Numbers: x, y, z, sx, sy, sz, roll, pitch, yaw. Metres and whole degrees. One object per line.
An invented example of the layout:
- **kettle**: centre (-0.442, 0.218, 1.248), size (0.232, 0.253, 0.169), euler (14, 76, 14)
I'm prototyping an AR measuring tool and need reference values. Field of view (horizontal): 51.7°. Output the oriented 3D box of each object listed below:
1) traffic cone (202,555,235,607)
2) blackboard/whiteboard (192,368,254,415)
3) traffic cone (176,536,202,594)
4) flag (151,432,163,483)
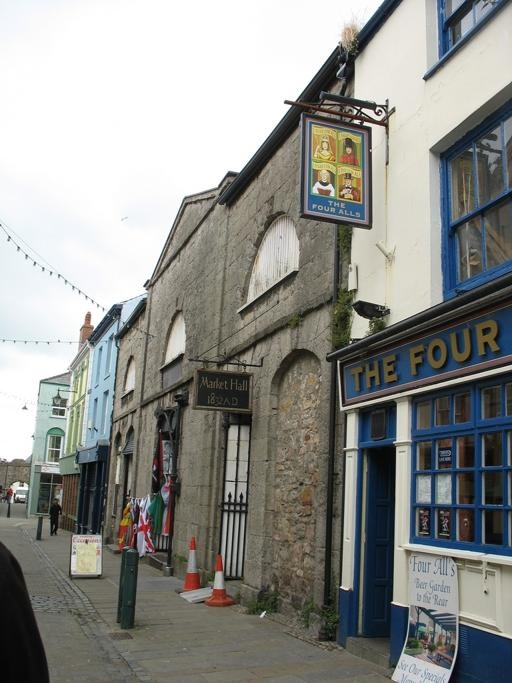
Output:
- **traffic cone**: centre (-0.645, 4.339, 9.700), size (0.511, 0.903, 1.225), euler (4, -16, -3)
- **blackboard/whiteboard**: centre (-0.628, 0.946, 10.405), size (0.830, 0.686, 0.126), euler (7, -14, -22)
- **traffic cone**: centre (-1.368, 4.745, 11.368), size (0.425, 1.118, 1.321), euler (5, -16, -4)
- **flag**: centre (-3.126, 3.703, 16.845), size (0.288, 1.636, 1.455), euler (7, -16, -12)
